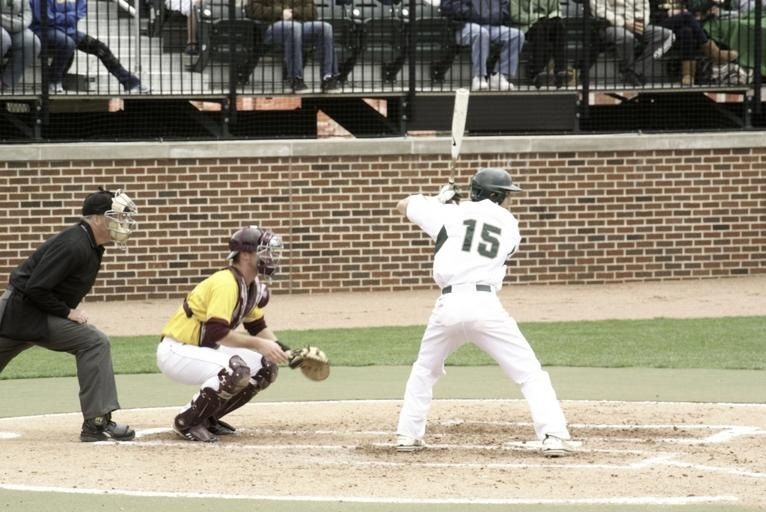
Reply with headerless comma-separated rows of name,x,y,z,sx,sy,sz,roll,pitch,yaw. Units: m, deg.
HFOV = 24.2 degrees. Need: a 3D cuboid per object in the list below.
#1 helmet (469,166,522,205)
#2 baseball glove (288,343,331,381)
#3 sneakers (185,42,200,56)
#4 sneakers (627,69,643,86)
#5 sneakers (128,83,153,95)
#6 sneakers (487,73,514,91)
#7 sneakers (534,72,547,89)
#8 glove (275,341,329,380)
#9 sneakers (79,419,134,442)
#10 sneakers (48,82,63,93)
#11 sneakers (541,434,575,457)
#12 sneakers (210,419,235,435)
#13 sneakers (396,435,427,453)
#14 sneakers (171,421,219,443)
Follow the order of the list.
helmet,1.339,-0.838,21.400,0.607,0.444,0.421,4,5,-12
baseball glove,-0.891,1.274,21.564,0.531,0.299,0.251,18,15,2
sneakers,-3.006,-3.272,28.227,0.191,0.120,0.186,-3,14,-20
sneakers,3.991,-2.853,28.613,0.170,0.134,0.401,12,18,-41
sneakers,-3.823,-2.625,28.090,0.331,0.136,0.159,2,3,-40
sneakers,1.853,-2.751,28.395,0.454,0.162,0.202,8,-37,1
sneakers,2.509,-2.819,28.585,0.250,0.229,0.244,-2,-30,11
glove,-0.959,1.271,21.572,0.657,0.322,0.308,15,13,24
sneakers,-3.301,2.039,21.288,0.595,0.260,0.264,-2,4,-8
sneakers,-5.122,-2.627,27.829,0.134,0.180,0.064,6,-12,-14
sneakers,2.086,2.221,21.023,0.190,0.198,0.447,-5,-6,44
sneakers,-1.967,2.060,21.658,0.264,0.092,0.180,2,16,0
sneakers,0.331,2.223,21.194,0.150,0.158,0.365,2,0,41
sneakers,-2.262,2.113,21.458,0.393,0.157,0.271,14,-2,6
